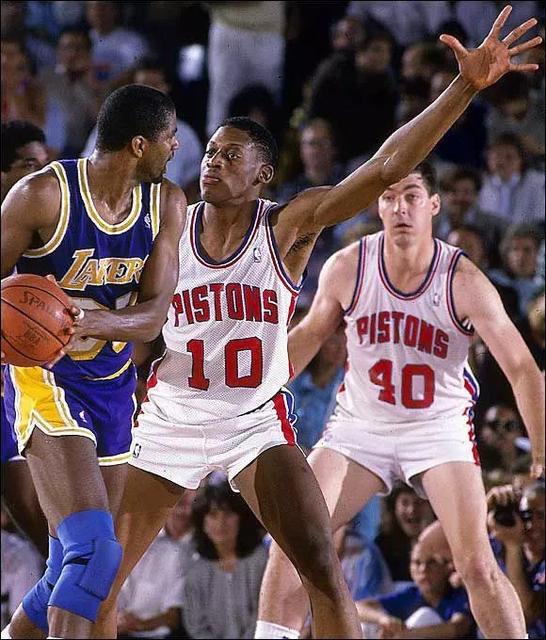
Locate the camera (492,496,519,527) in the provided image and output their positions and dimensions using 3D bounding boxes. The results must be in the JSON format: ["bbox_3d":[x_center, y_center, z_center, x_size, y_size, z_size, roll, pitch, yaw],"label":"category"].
[{"bbox_3d":[1.125,0.946,4.327,0.158,0.141,0.100,1,0,20],"label":"camera"}]

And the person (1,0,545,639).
[{"bbox_3d":[0.039,0.101,3.144,1.266,2.086,0.424,0,-10,24],"label":"person"}]
